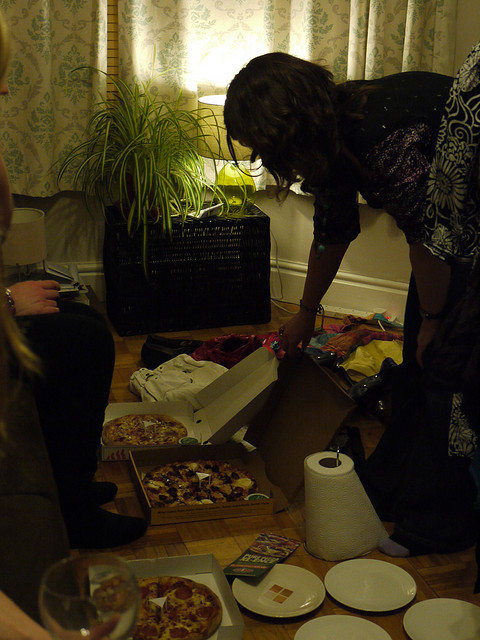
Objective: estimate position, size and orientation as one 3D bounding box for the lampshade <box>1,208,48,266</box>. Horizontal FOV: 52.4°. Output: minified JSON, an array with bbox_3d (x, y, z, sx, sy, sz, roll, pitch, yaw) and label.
[{"bbox_3d":[-1.086,-0.408,2.462,0.198,0.290,0.293,-6,19,-22],"label":"lampshade"}]

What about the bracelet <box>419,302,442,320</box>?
[{"bbox_3d":[0.516,-0.024,1.325,0.039,0.038,0.016,-16,42,44],"label":"bracelet"}]

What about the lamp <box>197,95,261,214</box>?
[{"bbox_3d":[-0.077,-0.934,2.905,0.379,0.833,0.428,-9,21,-22],"label":"lamp"}]
